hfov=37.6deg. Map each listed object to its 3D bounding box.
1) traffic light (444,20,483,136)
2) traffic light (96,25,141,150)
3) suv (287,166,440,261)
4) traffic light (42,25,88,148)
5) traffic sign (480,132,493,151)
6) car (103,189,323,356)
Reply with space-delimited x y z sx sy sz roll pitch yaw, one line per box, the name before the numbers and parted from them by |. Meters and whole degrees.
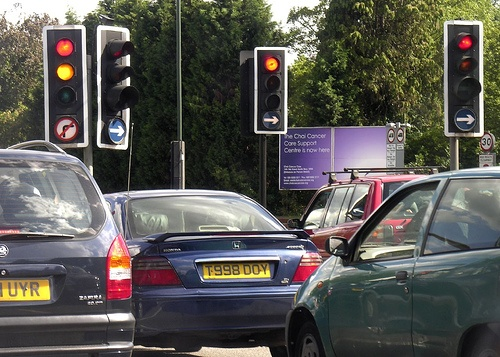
traffic light | 3.200 -1.497 10.985 0.536 1.709 0.247 -1 1 12
traffic light | -2.017 -1.412 11.162 0.613 1.886 0.500 -1 1 -12
suv | 1.510 0.319 10.715 1.374 1.177 2.172 0 3 -24
traffic light | -2.709 -1.371 10.874 0.609 1.754 0.292 -1 1 -18
traffic sign | 8.628 -1.357 26.659 0.411 0.699 1.610 -1 1 16
car | -0.305 0.811 6.960 1.295 1.020 2.518 1 -7 -21
